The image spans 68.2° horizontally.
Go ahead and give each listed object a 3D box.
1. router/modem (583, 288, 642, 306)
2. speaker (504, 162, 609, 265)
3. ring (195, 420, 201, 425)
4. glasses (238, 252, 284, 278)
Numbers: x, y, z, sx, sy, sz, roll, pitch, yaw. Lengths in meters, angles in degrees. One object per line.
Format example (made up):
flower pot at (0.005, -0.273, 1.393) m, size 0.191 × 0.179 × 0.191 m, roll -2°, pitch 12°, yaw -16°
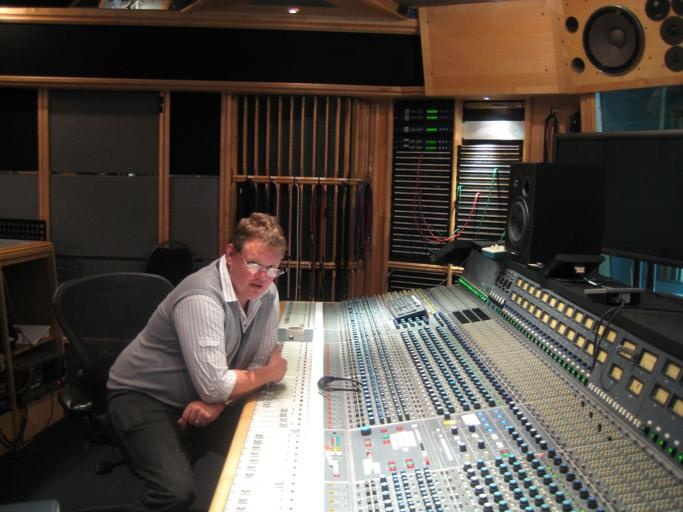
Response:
router/modem at (1.021, 0.149, 1.885) m, size 0.106 × 0.035 × 0.108 m, roll 0°, pitch 2°, yaw 0°
speaker at (0.941, -0.243, 2.586) m, size 0.527 × 0.604 × 0.335 m, roll 0°, pitch 6°, yaw -5°
ring at (-0.595, 0.691, 2.095) m, size 0.028 × 0.020 × 0.016 m, roll 2°, pitch 3°, yaw 12°
glasses at (-0.345, 0.049, 2.208) m, size 0.176 × 0.102 × 0.103 m, roll -5°, pitch 10°, yaw -24°
